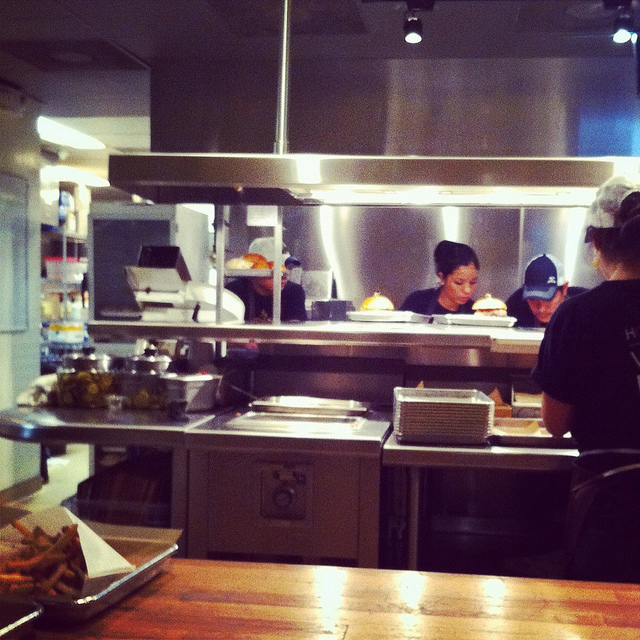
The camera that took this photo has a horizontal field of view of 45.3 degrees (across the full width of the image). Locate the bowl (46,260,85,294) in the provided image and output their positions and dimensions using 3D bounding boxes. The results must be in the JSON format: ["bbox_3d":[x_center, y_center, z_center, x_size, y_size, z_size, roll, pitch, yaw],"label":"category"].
[{"bbox_3d":[-2.053,-0.355,6.242,0.255,0.258,0.274,0,2,0],"label":"bowl"}]

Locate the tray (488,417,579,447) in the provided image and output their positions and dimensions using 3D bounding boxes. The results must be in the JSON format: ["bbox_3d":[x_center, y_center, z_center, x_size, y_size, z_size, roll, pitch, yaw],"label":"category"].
[{"bbox_3d":[0.764,0.393,2.775,0.290,0.052,0.347,2,8,16],"label":"tray"}]

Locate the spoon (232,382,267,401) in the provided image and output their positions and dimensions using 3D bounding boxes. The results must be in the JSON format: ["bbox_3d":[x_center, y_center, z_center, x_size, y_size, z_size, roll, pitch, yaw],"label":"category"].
[{"bbox_3d":[-0.325,0.312,3.385,0.062,0.100,0.183,3,8,22],"label":"spoon"}]

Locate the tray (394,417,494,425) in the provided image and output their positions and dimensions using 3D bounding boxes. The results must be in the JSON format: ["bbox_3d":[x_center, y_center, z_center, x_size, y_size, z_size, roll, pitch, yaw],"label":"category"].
[{"bbox_3d":[0.423,0.351,2.628,0.331,0.027,0.050,0,8,2],"label":"tray"}]

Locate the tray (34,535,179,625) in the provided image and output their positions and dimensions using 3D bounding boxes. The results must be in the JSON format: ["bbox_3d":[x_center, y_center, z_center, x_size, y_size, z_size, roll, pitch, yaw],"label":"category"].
[{"bbox_3d":[-0.416,0.515,1.523,0.134,0.091,0.287,3,8,19],"label":"tray"}]

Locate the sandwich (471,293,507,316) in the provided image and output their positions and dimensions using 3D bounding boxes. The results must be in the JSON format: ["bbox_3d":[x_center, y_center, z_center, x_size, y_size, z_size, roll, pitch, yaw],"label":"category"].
[{"bbox_3d":[0.713,-0.053,3.181,0.104,0.074,0.110,1,1,5],"label":"sandwich"}]

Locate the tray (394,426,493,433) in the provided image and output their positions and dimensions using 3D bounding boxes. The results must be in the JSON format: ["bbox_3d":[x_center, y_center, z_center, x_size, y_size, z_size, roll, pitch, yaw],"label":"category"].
[{"bbox_3d":[0.420,0.375,2.627,0.318,0.024,0.043,0,8,0],"label":"tray"}]

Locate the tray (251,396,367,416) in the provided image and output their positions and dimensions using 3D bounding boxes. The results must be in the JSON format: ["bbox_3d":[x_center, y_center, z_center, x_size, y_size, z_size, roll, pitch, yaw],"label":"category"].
[{"bbox_3d":[-0.036,0.350,3.167,0.466,0.034,0.286,1,8,8],"label":"tray"}]

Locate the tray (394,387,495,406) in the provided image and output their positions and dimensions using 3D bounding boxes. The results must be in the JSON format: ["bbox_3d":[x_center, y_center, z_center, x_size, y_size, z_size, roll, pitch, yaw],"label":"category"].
[{"bbox_3d":[0.433,0.269,2.751,0.329,0.039,0.316,1,8,5],"label":"tray"}]

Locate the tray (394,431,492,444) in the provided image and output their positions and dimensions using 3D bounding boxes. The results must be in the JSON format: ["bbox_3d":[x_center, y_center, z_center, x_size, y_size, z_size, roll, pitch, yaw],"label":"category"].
[{"bbox_3d":[0.427,0.405,2.633,0.320,0.042,0.053,0,8,-1],"label":"tray"}]
